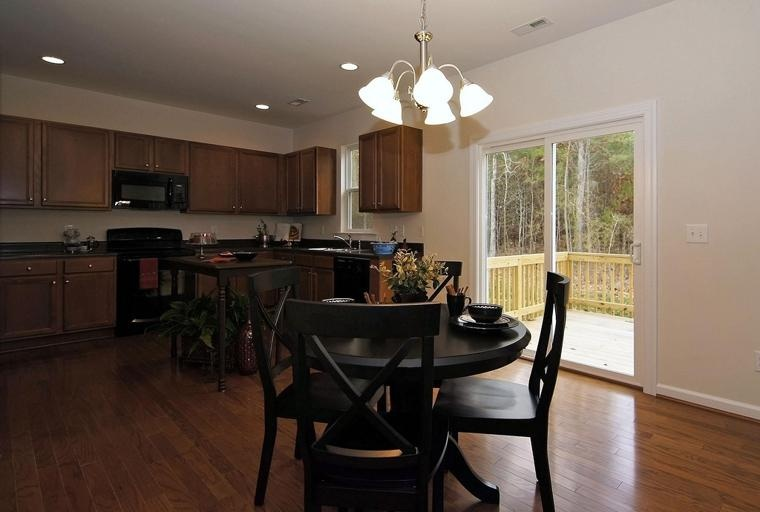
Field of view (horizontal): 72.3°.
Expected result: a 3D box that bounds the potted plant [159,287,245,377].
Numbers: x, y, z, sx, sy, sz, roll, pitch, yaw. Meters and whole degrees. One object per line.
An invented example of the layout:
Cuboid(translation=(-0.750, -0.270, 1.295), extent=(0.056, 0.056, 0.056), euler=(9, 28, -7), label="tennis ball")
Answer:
Cuboid(translation=(-1.920, 0.654, 5.219), extent=(0.729, 0.405, 0.625), euler=(2, 15, -39), label="potted plant")

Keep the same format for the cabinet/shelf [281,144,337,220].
Cuboid(translation=(-1.059, -1.085, 7.757), extent=(0.346, 0.950, 0.963), euler=(-2, 4, -38), label="cabinet/shelf")

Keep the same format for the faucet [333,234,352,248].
Cuboid(translation=(-0.543, -0.213, 7.290), extent=(0.402, 0.197, 0.174), euler=(2, 4, 35), label="faucet")

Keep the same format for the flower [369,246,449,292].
Cuboid(translation=(0.238, 0.148, 3.994), extent=(0.537, 0.410, 0.609), euler=(-9, 8, -11), label="flower")

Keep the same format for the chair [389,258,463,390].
Cuboid(translation=(0.404, 0.324, 4.182), extent=(0.502, 0.678, 0.474), euler=(1, 5, 0), label="chair")

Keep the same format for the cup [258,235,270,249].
Cuboid(translation=(-1.745, -0.220, 7.900), extent=(0.201, 0.217, 0.197), euler=(0, 5, 0), label="cup")

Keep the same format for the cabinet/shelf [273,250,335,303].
Cuboid(translation=(-0.810, 0.298, 6.972), extent=(0.745, 0.657, 0.298), euler=(5, 5, 39), label="cabinet/shelf")

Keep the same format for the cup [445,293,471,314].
Cuboid(translation=(0.603, 0.359, 3.898), extent=(0.197, 0.147, 0.127), euler=(1, -2, -22), label="cup")

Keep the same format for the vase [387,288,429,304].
Cuboid(translation=(0.236, 0.290, 3.820), extent=(0.151, 0.109, 0.150), euler=(-5, 8, -42), label="vase")

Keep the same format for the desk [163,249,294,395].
Cuboid(translation=(-1.632, 0.571, 5.376), extent=(0.822, 1.002, 1.263), euler=(-3, -11, 15), label="desk")

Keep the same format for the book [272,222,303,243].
Cuboid(translation=(-1.398, -0.362, 7.967), extent=(0.445, 0.277, 0.189), euler=(-2, 4, -22), label="book")
